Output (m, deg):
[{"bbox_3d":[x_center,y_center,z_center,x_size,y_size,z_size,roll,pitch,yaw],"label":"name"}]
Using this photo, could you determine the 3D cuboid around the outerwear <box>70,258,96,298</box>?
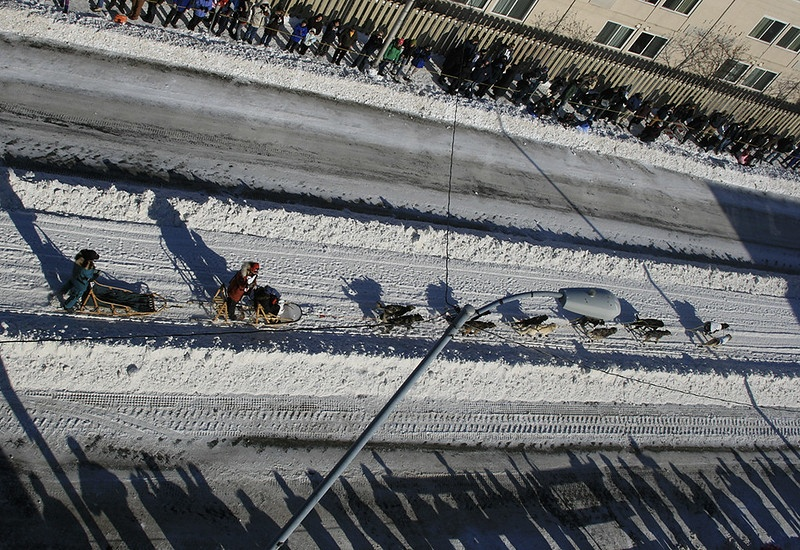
[{"bbox_3d":[-11.247,0.107,49.776,0.969,1.057,0.667,43,27,18],"label":"outerwear"}]

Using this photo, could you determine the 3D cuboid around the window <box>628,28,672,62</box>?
[{"bbox_3d":[10.987,-10.316,62.386,2.142,1.485,0.155,9,51,-25],"label":"window"}]

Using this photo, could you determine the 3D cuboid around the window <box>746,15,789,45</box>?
[{"bbox_3d":[16.162,-10.963,62.223,2.294,2.148,0.150,3,66,7],"label":"window"}]

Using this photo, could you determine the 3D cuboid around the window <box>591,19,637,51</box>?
[{"bbox_3d":[9.300,-10.687,61.881,1.810,1.653,0.122,15,54,-12],"label":"window"}]

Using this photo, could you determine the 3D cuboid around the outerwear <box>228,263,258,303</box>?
[{"bbox_3d":[-5.734,0.209,50.692,0.604,1.691,0.720,38,31,18],"label":"outerwear"}]

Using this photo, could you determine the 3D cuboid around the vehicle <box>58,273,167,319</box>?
[{"bbox_3d":[-10.463,0.707,51.082,3.734,1.307,1.590,3,-7,-8],"label":"vehicle"}]

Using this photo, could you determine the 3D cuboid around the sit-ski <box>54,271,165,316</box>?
[{"bbox_3d":[-10.521,0.674,50.751,3.794,1.242,1.117,-1,17,-1],"label":"sit-ski"}]

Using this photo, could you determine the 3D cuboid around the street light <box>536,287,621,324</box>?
[{"bbox_3d":[6.043,0.864,46.651,2.152,0.885,0.975,9,-2,-10],"label":"street light"}]

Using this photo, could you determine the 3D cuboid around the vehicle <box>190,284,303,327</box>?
[{"bbox_3d":[-5.687,0.951,51.477,4.052,1.389,1.313,-1,63,-16],"label":"vehicle"}]

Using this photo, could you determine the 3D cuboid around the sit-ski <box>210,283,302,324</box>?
[{"bbox_3d":[-5.252,1.013,51.490,3.677,1.270,1.224,1,68,-17],"label":"sit-ski"}]
